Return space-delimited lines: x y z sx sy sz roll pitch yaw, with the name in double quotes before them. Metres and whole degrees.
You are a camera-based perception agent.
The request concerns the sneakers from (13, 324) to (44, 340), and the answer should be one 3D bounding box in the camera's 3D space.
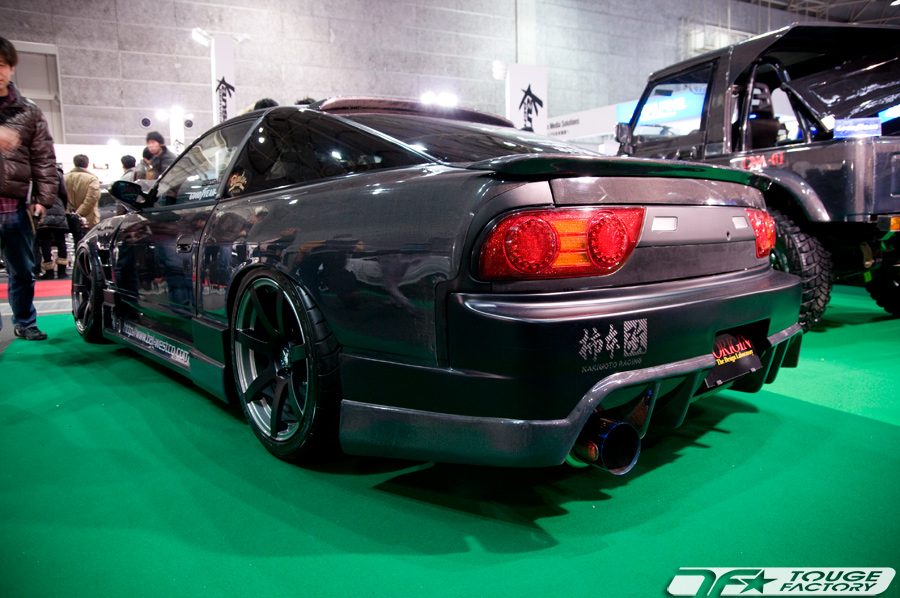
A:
"sneakers" -3.530 0.274 4.502 0.289 0.123 0.115 1 2 19
